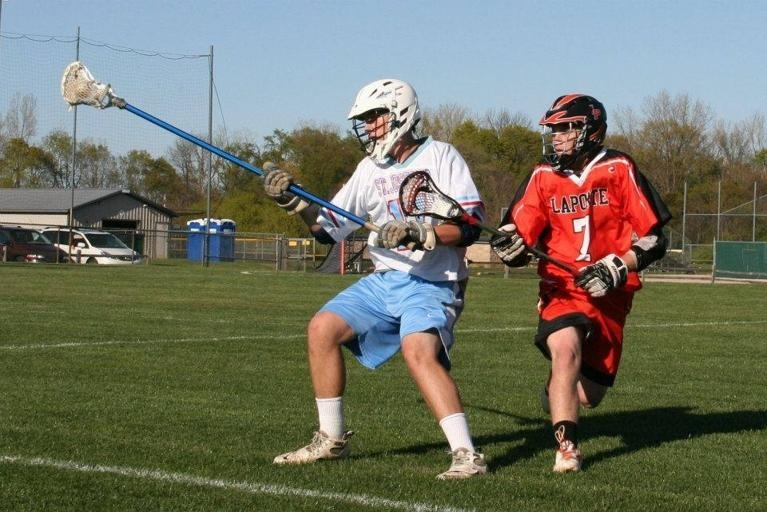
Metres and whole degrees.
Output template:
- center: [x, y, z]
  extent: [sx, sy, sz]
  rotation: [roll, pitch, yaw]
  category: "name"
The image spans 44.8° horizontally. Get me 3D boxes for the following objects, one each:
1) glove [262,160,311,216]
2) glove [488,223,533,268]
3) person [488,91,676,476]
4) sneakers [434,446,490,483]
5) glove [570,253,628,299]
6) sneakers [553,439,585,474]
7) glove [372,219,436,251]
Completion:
- center: [-0.876, -0.596, 8.248]
  extent: [0.353, 0.229, 0.450]
  rotation: [-9, -10, 44]
  category: "glove"
- center: [1.097, -0.105, 8.068]
  extent: [0.296, 0.399, 0.171]
  rotation: [12, -42, -30]
  category: "glove"
- center: [1.740, 0.163, 8.151]
  extent: [1.286, 3.145, 0.964]
  rotation: [0, 2, -24]
  category: "person"
- center: [0.641, 1.645, 7.482]
  extent: [0.414, 0.244, 0.230]
  rotation: [1, 2, 3]
  category: "sneakers"
- center: [1.862, 0.202, 7.969]
  extent: [0.391, 0.300, 0.186]
  rotation: [-31, -19, -6]
  category: "glove"
- center: [1.532, 1.637, 7.703]
  extent: [0.275, 0.246, 0.265]
  rotation: [1, 2, 2]
  category: "sneakers"
- center: [0.212, -0.171, 7.646]
  extent: [0.265, 0.165, 0.325]
  rotation: [5, 2, 41]
  category: "glove"
